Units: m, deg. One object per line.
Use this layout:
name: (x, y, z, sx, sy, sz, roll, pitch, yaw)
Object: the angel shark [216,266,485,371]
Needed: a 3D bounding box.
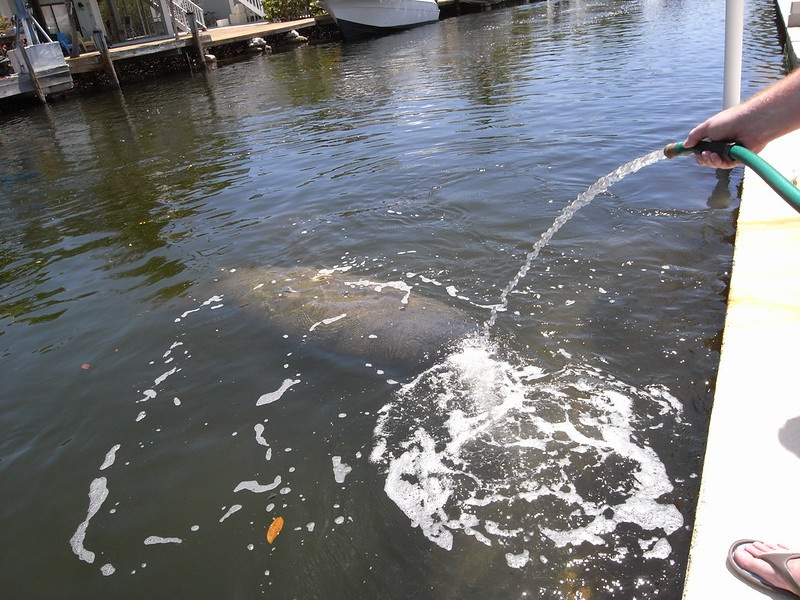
angel shark: (-0.597, 0.120, 5.827, 2.848, 0.558, 0.918, 9, 23, 39)
